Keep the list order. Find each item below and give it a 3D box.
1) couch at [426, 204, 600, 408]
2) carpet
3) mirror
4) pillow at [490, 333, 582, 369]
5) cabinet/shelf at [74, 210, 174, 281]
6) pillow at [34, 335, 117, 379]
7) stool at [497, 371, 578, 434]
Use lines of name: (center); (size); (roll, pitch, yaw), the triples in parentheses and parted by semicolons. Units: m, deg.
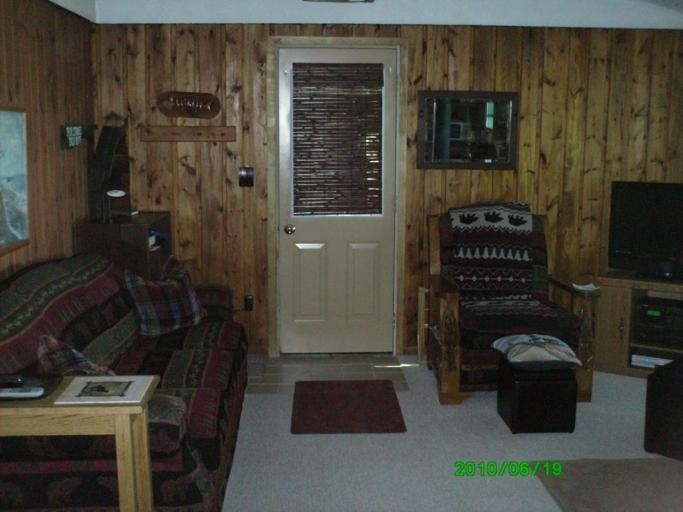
couch: (1.162, 0.260, 3.904); (1.064, 1.291, 1.100); (1, 5, 16)
carpet: (0.039, 1.001, 3.694); (0.733, 0.024, 0.748); (0, 13, -2)
mirror: (0.990, -1.032, 4.373); (0.629, 0.483, 0.021); (1, 5, -4)
pillow: (1.228, 0.595, 3.463); (0.442, 0.180, 0.416); (-2, 13, -7)
cabinet/shelf: (-1.542, -0.050, 3.945); (0.352, 0.409, 0.454); (-20, 20, -15)
pillow: (-1.206, 0.503, 2.534); (0.134, 0.159, 0.425); (-23, -22, 16)
stool: (1.207, 0.885, 3.439); (0.380, 0.312, 0.394); (0, -2, 1)
